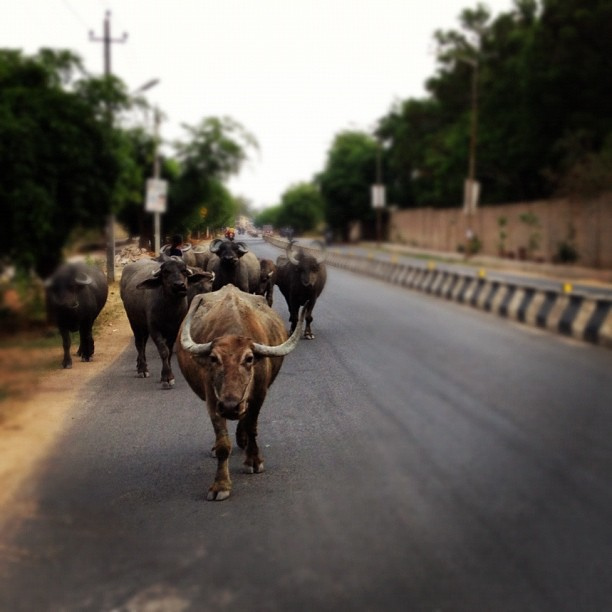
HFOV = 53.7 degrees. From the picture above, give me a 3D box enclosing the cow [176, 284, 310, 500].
[{"bbox_3d":[-0.701,0.845,6.154,1.015,1.926,3.105,-1,3,-6],"label":"cow"}]
